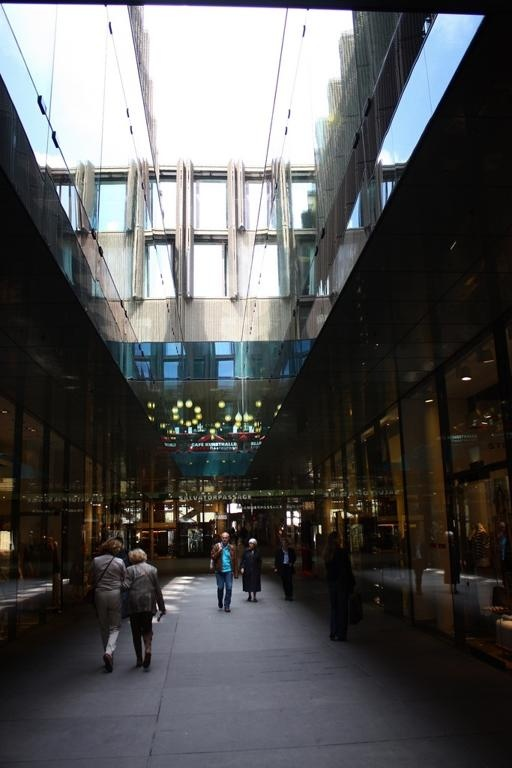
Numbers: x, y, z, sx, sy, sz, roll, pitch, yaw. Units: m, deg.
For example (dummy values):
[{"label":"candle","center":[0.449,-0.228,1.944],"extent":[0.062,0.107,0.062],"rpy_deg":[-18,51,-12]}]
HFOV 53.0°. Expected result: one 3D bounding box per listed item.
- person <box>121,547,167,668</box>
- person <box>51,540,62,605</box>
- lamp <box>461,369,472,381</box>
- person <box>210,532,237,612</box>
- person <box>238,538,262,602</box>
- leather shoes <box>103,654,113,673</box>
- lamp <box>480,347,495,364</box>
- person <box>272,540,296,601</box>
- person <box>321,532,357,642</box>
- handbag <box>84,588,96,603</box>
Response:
[{"label":"person","center":[-1.588,3.155,7.277],"extent":[0.556,1.540,1.054],"rpy_deg":[1,-13,-13]},{"label":"person","center":[-4.956,4.717,12.689],"extent":[0.226,1.799,0.334],"rpy_deg":[4,10,14]},{"label":"lamp","center":[3.077,-0.117,7.546],"extent":[0.091,0.139,0.090],"rpy_deg":[19,-24,-41]},{"label":"person","center":[-0.866,4.779,13.075],"extent":[0.469,1.822,1.965],"rpy_deg":[-1,-14,-5]},{"label":"person","center":[-0.143,5.351,14.710],"extent":[0.526,1.660,2.065],"rpy_deg":[-1,-14,-2]},{"label":"leather shoes","center":[-1.911,3.619,6.633],"extent":[0.118,0.259,0.294],"rpy_deg":[2,-14,-17]},{"label":"lamp","center":[3.016,-0.364,6.747],"extent":[0.099,0.157,0.130],"rpy_deg":[0,-20,3]},{"label":"person","center":[0.817,5.337,14.763],"extent":[0.554,1.597,1.739],"rpy_deg":[-2,-14,2]},{"label":"person","center":[1.399,3.384,8.597],"extent":[0.465,1.705,0.497],"rpy_deg":[-4,-11,10]},{"label":"handbag","center":[-2.290,2.992,7.109],"extent":[0.136,0.291,0.074],"rpy_deg":[0,10,-13]}]
